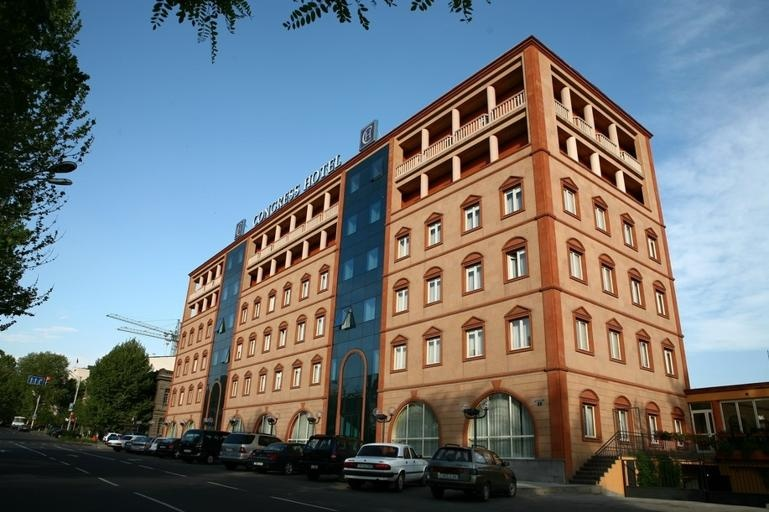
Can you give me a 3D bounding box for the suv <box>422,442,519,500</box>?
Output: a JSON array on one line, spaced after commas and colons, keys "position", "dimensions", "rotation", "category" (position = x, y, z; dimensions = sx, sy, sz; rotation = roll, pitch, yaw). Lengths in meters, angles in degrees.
[{"position": [3.887, 9.054, 22.475], "dimensions": [2.076, 1.532, 3.823], "rotation": [-16, -22, 41], "category": "suv"}]
